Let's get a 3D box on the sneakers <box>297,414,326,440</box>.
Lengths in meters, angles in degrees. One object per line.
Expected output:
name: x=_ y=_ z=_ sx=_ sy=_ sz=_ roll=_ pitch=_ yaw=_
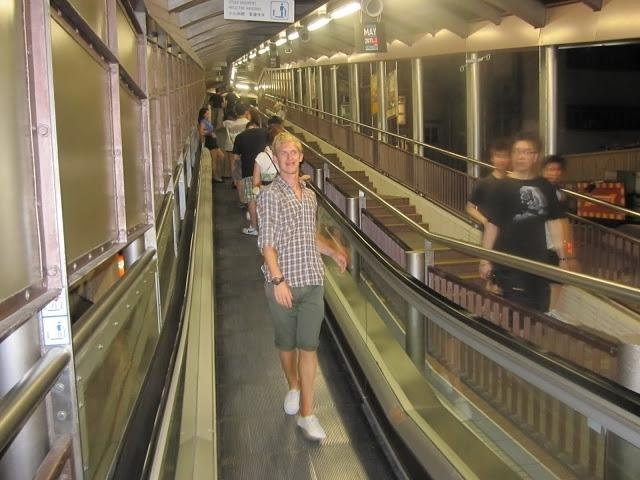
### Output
sneakers: x=-0.061 y=1.286 z=3.242 sx=0.101 sy=0.100 sz=0.226 roll=-2 pitch=-2 yaw=-29

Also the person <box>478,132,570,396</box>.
person: x=1.680 y=-0.132 z=3.875 sx=0.666 sy=1.396 sz=0.366 roll=7 pitch=14 yaw=30

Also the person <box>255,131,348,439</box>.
person: x=-0.163 y=0.295 z=3.326 sx=0.591 sy=2.044 sz=0.722 roll=0 pitch=12 yaw=2

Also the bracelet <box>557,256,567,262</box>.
bracelet: x=2.021 y=0.146 z=3.889 sx=0.061 sy=0.052 sz=0.065 roll=3 pitch=-9 yaw=-13

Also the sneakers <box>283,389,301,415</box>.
sneakers: x=-0.218 y=1.207 z=3.482 sx=0.097 sy=0.084 sz=0.192 roll=3 pitch=22 yaw=0

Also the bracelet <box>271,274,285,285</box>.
bracelet: x=-0.283 y=0.259 z=3.101 sx=0.065 sy=0.041 sz=0.069 roll=0 pitch=2 yaw=-1
